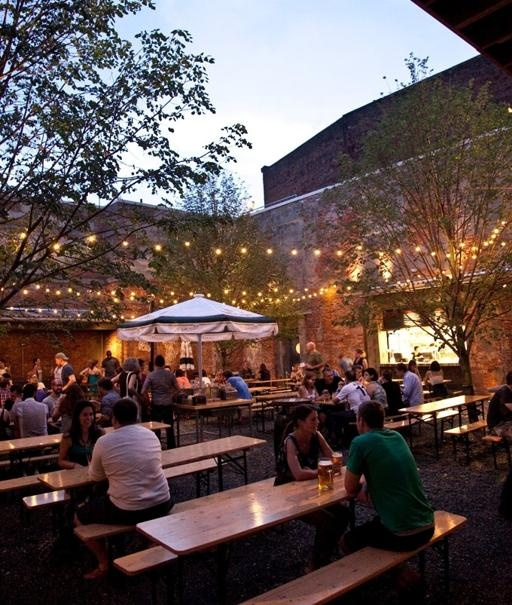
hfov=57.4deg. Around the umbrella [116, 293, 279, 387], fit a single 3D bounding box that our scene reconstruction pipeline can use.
[{"bbox_3d":[-1.162,0.410,9.341,2.307,1.363,2.128,0,1,-8],"label":"umbrella"}]
